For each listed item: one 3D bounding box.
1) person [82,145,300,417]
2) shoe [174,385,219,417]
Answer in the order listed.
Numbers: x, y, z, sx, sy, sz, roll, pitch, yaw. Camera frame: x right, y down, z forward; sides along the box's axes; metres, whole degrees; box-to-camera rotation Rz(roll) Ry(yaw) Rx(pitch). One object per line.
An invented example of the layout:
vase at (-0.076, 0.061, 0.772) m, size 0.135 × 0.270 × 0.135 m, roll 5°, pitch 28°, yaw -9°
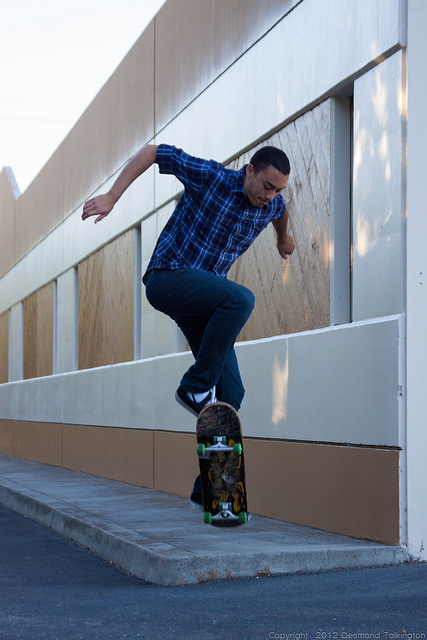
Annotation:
person at (0.025, -0.075, 5.317) m, size 0.469 × 1.631 × 1.228 m, roll 3°, pitch -15°, yaw 29°
shoe at (-0.089, 0.429, 5.316) m, size 0.227 × 0.163 × 0.362 m, roll -4°, pitch -2°, yaw 9°
